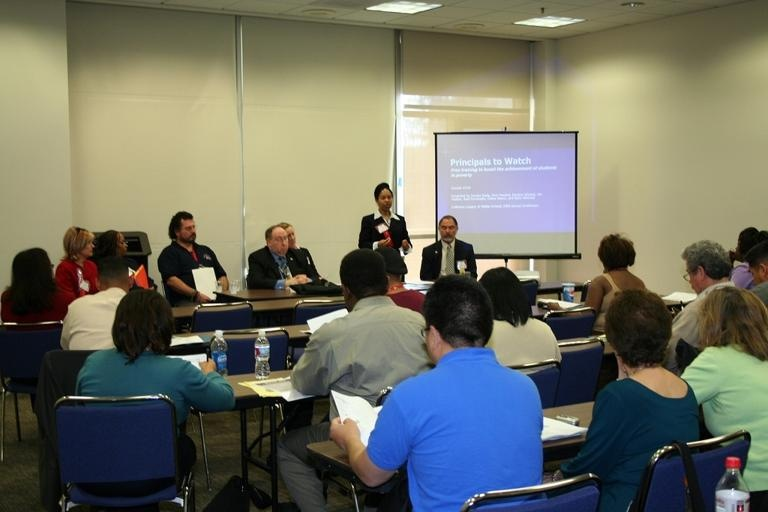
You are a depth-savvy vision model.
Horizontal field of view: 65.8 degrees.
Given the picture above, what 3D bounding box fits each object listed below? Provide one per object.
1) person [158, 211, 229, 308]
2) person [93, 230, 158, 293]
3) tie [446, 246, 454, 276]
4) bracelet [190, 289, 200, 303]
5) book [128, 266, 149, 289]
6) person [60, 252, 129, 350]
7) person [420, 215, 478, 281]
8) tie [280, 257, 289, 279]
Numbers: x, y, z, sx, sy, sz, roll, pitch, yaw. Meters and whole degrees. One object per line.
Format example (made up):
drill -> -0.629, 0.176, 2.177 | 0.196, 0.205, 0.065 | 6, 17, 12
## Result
person -> -2.124, 0.079, 6.771 | 0.846, 1.207, 0.914 | -3, 3, -18
person -> -2.921, 0.122, 6.527 | 0.599, 0.807, 0.518 | -1, 1, -30
tie -> 0.826, 0.037, 7.422 | 0.106, 0.325, 0.133 | -1, 5, 6
bracelet -> -2.055, 0.439, 6.456 | 0.088, 0.127, 0.043 | 4, 2, 34
book -> -2.495, 0.224, 6.020 | 0.074, 0.245, 0.234 | -6, 0, -20
person -> -2.151, 0.346, 4.374 | 0.391, 0.931, 0.504 | 7, 36, -14
person -> 0.833, 0.148, 7.480 | 0.664, 1.266, 0.573 | -1, -4, -6
tie -> -1.172, 0.151, 6.987 | 0.054, 0.230, 0.122 | -15, -12, 43
